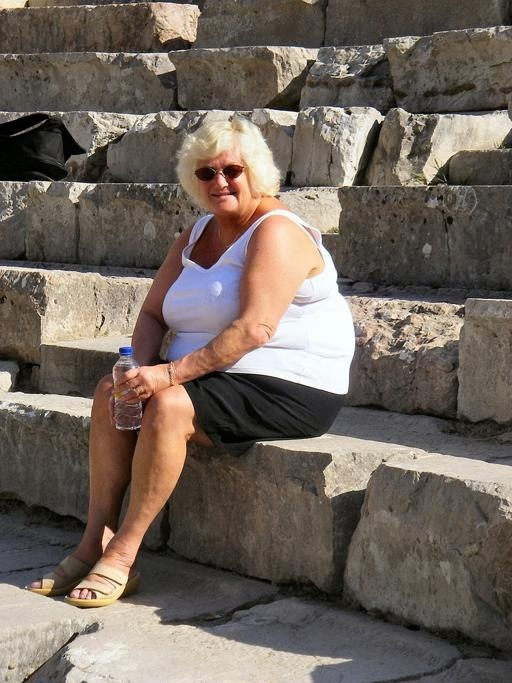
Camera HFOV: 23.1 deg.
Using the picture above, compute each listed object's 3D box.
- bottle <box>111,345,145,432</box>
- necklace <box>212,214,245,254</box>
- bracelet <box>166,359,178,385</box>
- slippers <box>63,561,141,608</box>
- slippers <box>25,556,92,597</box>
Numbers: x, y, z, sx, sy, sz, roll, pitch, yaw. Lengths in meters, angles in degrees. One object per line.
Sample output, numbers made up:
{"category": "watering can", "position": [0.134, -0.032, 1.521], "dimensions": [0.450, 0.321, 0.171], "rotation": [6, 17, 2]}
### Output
{"category": "bottle", "position": [-0.385, 0.152, 3.713], "dimensions": [0.089, 0.235, 0.348], "rotation": [-5, 13, -6]}
{"category": "necklace", "position": [-0.098, -0.344, 3.964], "dimensions": [0.096, 0.137, 0.046], "rotation": [-4, -20, 23]}
{"category": "bracelet", "position": [-0.243, 0.097, 3.626], "dimensions": [0.025, 0.058, 0.042], "rotation": [-4, 13, -4]}
{"category": "slippers", "position": [-0.436, 0.688, 3.615], "dimensions": [0.087, 0.075, 0.205], "rotation": [5, 10, 36]}
{"category": "slippers", "position": [-0.564, 0.685, 3.698], "dimensions": [0.213, 0.085, 0.084], "rotation": [-14, 18, -34]}
